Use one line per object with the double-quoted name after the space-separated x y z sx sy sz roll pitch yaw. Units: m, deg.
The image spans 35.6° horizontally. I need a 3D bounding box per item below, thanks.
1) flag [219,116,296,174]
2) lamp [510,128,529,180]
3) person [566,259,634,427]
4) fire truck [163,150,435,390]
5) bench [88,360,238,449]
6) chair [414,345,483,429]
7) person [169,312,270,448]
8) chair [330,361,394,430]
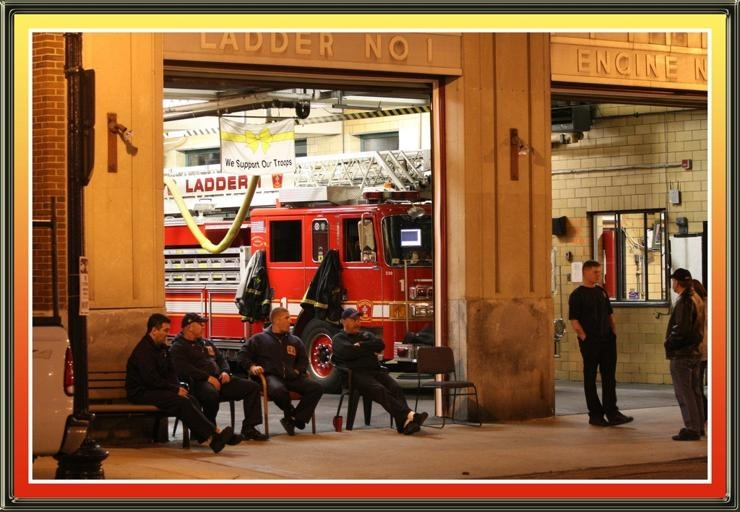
-2.072 -1.985 20.875 1.269 0.904 0.096 -1 5 -3 "flag"
2.350 -1.631 18.508 0.311 0.747 0.080 -3 1 -17 "lamp"
3.498 1.357 18.038 0.874 2.544 0.639 -1 -4 -7 "person"
-2.189 0.494 23.465 8.150 4.239 2.662 -2 0 34 "fire truck"
-3.163 2.037 16.514 1.380 1.166 1.374 6 -2 38 "bench"
1.166 2.011 17.678 0.843 1.200 0.875 3 -4 -41 "chair"
-2.282 1.750 16.816 1.303 1.874 1.098 -4 -3 20 "person"
-0.099 2.164 17.649 1.025 0.943 1.112 -3 1 -2 "chair"
